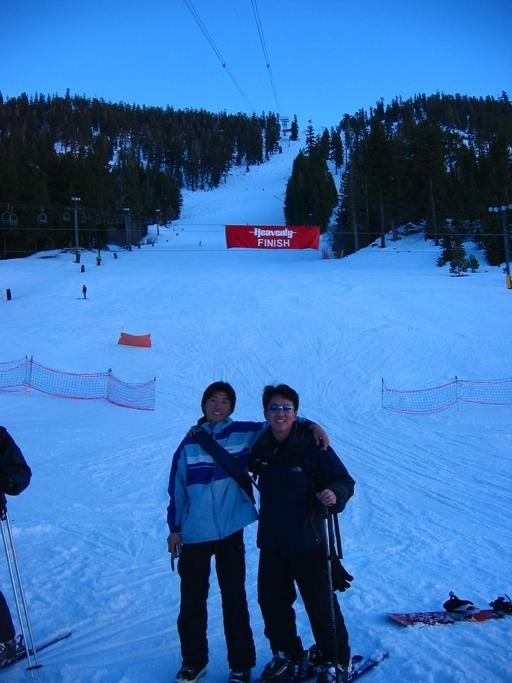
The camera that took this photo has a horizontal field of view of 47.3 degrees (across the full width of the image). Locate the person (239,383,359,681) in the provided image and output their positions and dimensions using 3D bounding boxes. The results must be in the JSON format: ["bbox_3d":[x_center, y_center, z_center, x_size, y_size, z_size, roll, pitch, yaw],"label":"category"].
[{"bbox_3d":[0.248,1.168,3.577,0.662,1.779,0.394,1,1,15],"label":"person"}]
